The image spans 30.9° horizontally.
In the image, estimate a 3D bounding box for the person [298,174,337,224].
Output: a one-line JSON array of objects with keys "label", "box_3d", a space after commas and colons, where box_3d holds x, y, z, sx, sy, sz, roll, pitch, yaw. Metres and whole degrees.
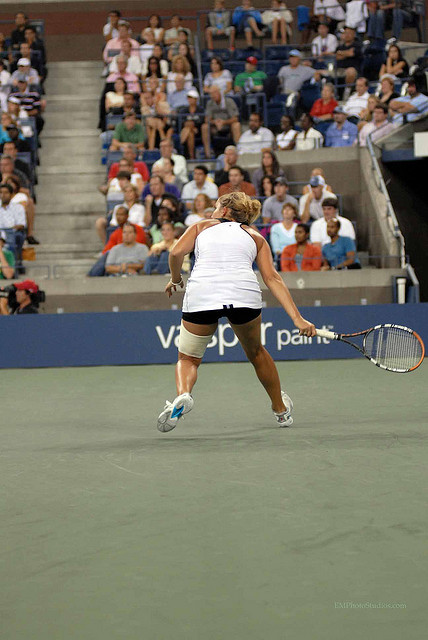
[{"label": "person", "box_3d": [1.494, -1.684, 11.377, 0.574, 0.803, 0.528, -3, 4, 15]}]

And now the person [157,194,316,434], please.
[{"label": "person", "box_3d": [0.110, 0.018, 4.722, 0.910, 1.549, 0.669, -7, 12, -18]}]

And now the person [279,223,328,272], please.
[{"label": "person", "box_3d": [1.176, -0.726, 10.406, 0.554, 1.058, 0.396, 1, 4, 20]}]

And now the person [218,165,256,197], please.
[{"label": "person", "box_3d": [0.347, -2.061, 11.477, 0.429, 0.452, 0.798, 0, 10, 15]}]

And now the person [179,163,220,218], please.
[{"label": "person", "box_3d": [-0.227, -1.852, 11.557, 0.580, 0.905, 0.536, 3, -3, 14]}]

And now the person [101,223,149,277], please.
[{"label": "person", "box_3d": [-1.174, -0.942, 10.387, 0.597, 0.669, 0.395, -4, 11, -7]}]
